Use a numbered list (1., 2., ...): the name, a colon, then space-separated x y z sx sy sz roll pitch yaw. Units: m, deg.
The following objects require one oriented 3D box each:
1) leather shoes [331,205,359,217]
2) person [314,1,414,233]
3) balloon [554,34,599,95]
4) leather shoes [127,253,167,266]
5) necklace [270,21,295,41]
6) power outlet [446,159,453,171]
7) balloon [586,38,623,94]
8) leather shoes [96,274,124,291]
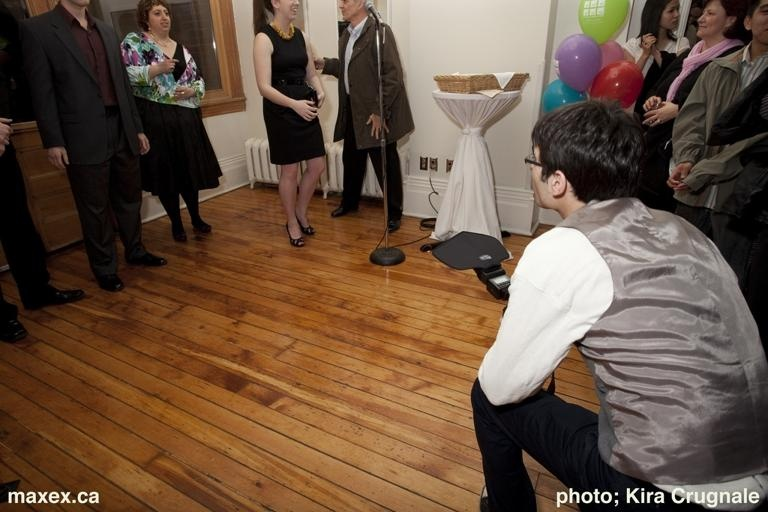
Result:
1. leather shoes: -0.397 -0.431 4.678 0.286 0.127 0.104 -15 36 -24
2. person: -0.148 -1.187 4.138 0.888 1.832 0.552 21 37 36
3. balloon: 1.355 -1.344 3.320 0.311 0.409 0.329 -11 9 20
4. leather shoes: -1.872 0.031 3.821 0.308 0.146 0.121 -2 10 -5
5. necklace: -0.775 -1.718 3.649 0.186 0.124 0.102 -10 31 -12
6. power outlet: 0.574 -0.808 4.266 0.051 0.117 0.027 19 36 33
7. balloon: 1.495 -1.375 3.379 0.244 0.346 0.250 30 21 21
8. leather shoes: -1.981 0.197 3.444 0.226 0.101 0.098 6 66 10
